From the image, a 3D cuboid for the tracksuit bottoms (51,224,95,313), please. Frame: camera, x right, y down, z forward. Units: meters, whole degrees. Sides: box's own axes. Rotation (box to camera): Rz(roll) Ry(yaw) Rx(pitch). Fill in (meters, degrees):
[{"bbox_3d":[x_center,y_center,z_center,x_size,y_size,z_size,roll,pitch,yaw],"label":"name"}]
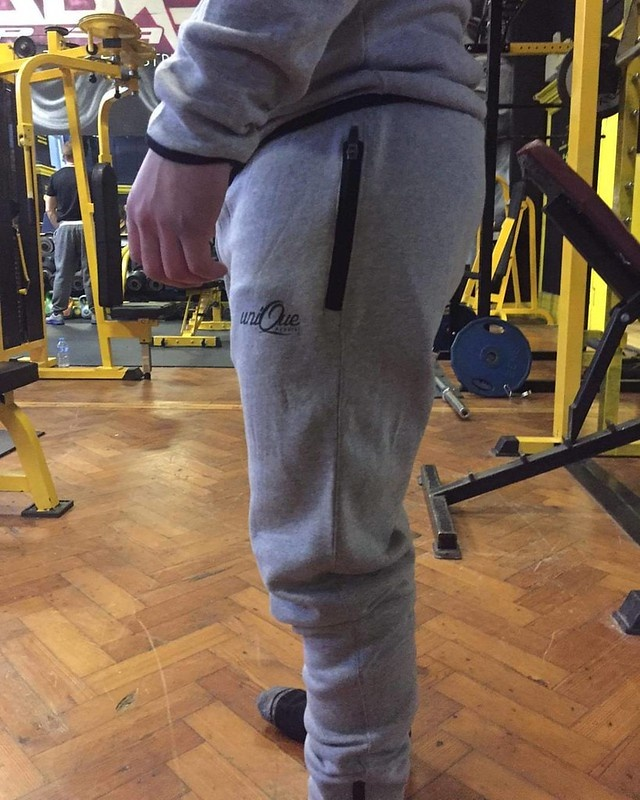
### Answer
[{"bbox_3d":[-2.297,-1.214,6.233,0.279,0.819,0.450,11,18,29],"label":"tracksuit bottoms"}]
